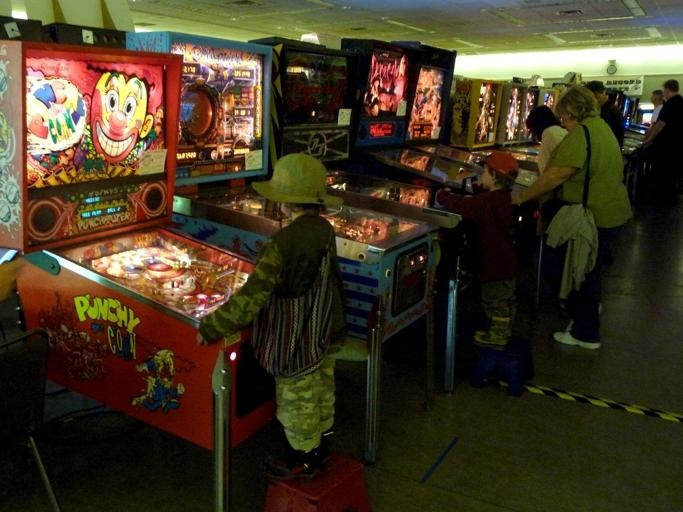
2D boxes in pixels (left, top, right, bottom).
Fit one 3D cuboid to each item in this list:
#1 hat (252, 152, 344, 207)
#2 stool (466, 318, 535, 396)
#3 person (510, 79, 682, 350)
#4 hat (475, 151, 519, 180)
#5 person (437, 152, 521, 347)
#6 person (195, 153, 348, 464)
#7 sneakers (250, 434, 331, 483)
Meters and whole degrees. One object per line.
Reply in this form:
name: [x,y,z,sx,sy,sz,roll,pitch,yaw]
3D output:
hat: [-0.172,-0.313,2.143,0.254,0.111,0.256,0,17,-45]
stool: [1.070,0.682,3.543,0.414,0.291,0.410,6,13,29]
person: [1.755,-0.238,3.930,0.643,2.002,0.688,14,23,36]
hat: [1.052,-0.614,3.511,0.220,0.116,0.156,36,44,29]
person: [0.958,-0.009,3.575,0.528,1.368,0.585,6,19,18]
person: [-0.258,0.327,2.205,0.399,1.460,0.616,8,20,22]
sneakers: [-0.181,0.935,2.294,0.198,0.094,0.258,18,26,40]
